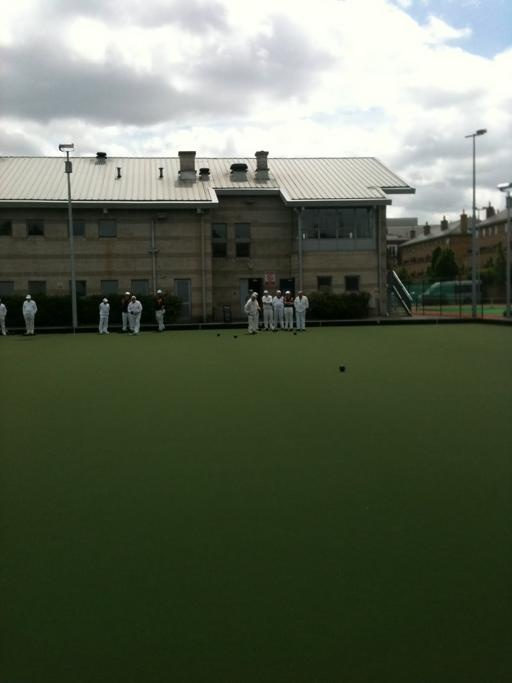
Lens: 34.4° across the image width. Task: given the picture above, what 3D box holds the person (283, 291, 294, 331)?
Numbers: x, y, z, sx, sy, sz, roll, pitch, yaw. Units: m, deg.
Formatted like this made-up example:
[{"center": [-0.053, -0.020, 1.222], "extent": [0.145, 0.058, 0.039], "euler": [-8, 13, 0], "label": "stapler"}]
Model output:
[{"center": [1.328, -1.336, 34.238], "extent": [0.449, 1.566, 1.355], "euler": [0, 5, 2], "label": "person"}]

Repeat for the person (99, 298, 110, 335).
[{"center": [-6.390, -1.107, 34.842], "extent": [0.376, 1.464, 2.055], "euler": [-2, 6, -12], "label": "person"}]

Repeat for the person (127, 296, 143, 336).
[{"center": [-4.802, -1.090, 32.758], "extent": [0.534, 1.521, 2.153], "euler": [-1, 6, -9], "label": "person"}]
